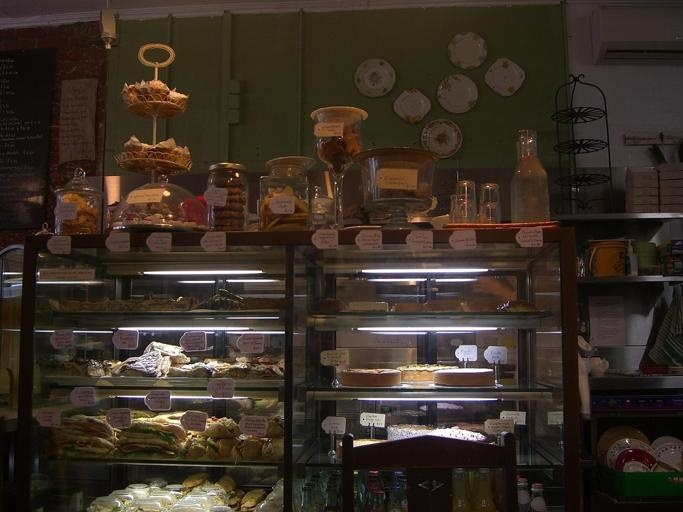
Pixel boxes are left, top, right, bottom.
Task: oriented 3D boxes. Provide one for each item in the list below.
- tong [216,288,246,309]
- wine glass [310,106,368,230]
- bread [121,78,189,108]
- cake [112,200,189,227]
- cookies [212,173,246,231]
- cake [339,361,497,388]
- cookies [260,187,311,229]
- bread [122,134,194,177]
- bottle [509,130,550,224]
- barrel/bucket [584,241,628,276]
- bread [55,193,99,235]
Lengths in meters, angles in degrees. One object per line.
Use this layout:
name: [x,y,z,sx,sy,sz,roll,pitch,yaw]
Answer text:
tong: [-0.605,0.235,4.445,0.150,0.076,0.037,24,-8,24]
wine glass: [-0.018,-0.505,4.514,0.304,0.690,0.277,1,-5,-2]
bread: [-1.044,-0.941,4.477,0.252,0.068,0.228,0,-1,10]
cake: [-1.038,-0.227,4.418,0.398,0.147,0.131,1,-5,-6]
cookies: [-0.607,-0.307,4.433,0.201,0.341,0.105,2,-6,-12]
cake: [0.422,0.673,4.501,0.844,0.113,0.270,1,-4,-2]
cookies: [-0.302,-0.256,4.352,0.272,0.189,0.244,-1,-2,8]
bread: [-1.036,-0.567,4.511,0.289,0.199,0.338,-2,-5,30]
bottle: [1.037,-0.439,4.408,0.210,0.533,0.179,-1,-6,24]
barrel/bucket: [1.807,-0.019,5.511,0.335,0.282,0.289,2,4,-4]
bread: [-1.450,-0.230,4.486,0.277,0.229,0.249,-1,-2,6]
